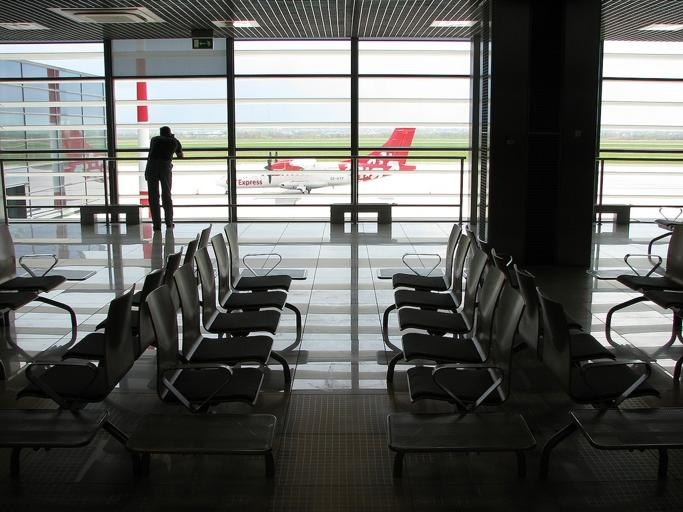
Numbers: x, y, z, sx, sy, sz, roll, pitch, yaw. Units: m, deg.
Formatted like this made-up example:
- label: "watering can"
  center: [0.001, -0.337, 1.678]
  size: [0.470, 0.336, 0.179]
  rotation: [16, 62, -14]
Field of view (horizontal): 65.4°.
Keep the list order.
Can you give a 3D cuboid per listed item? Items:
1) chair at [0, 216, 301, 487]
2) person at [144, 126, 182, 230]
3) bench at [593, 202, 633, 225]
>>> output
- label: "chair"
  center: [-0.954, 0.579, 2.909]
  size: [1.457, 0.638, 1.263]
  rotation: [1, 12, -4]
- label: "person"
  center: [-3.078, -1.362, 9.383]
  size: [0.650, 1.825, 0.423]
  rotation: [-8, 15, -21]
- label: "bench"
  center: [4.938, -0.726, 9.648]
  size: [0.540, 0.271, 0.547]
  rotation: [0, 2, -45]
